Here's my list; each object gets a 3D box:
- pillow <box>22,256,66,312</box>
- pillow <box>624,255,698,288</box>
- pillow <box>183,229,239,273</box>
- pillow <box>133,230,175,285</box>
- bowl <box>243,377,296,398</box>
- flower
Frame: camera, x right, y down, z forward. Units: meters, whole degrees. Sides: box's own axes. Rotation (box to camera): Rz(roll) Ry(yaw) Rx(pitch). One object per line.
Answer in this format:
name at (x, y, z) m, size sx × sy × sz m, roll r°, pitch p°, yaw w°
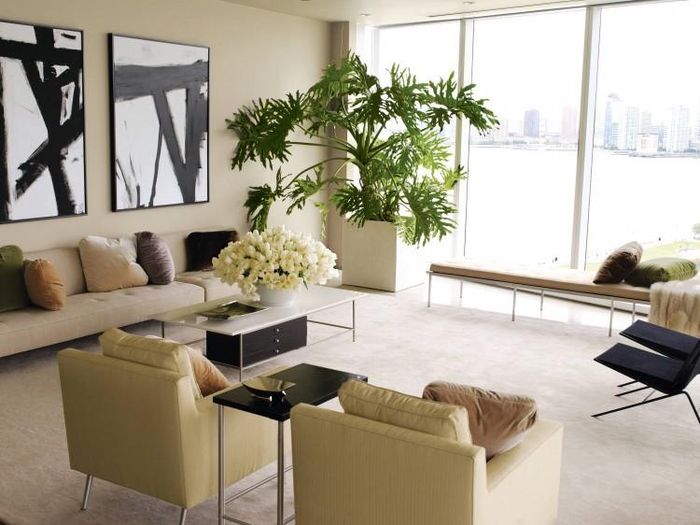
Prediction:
pillow at (-2.572, 0.192, 4.657) m, size 0.230 × 0.389 × 0.429 m, roll -20°, pitch 16°, yaw -39°
pillow at (3.003, 0.105, 5.274) m, size 0.657 × 0.230 × 0.406 m, roll -4°, pitch 14°, yaw -22°
pillow at (-1.711, -0.088, 6.377) m, size 0.544 × 0.506 × 0.162 m, roll 7°, pitch -6°, yaw -28°
pillow at (-1.980, -0.035, 5.590) m, size 0.288 × 0.479 × 0.529 m, roll -17°, pitch 11°, yaw -26°
bowl at (-0.369, 0.568, 2.592) m, size 0.245 × 0.084 × 0.192 m, roll -2°, pitch 13°, yaw -12°
flower at (-0.584, 0.011, 4.377) m, size 0.727 × 0.418 × 0.704 m, roll 2°, pitch 8°, yaw 8°
